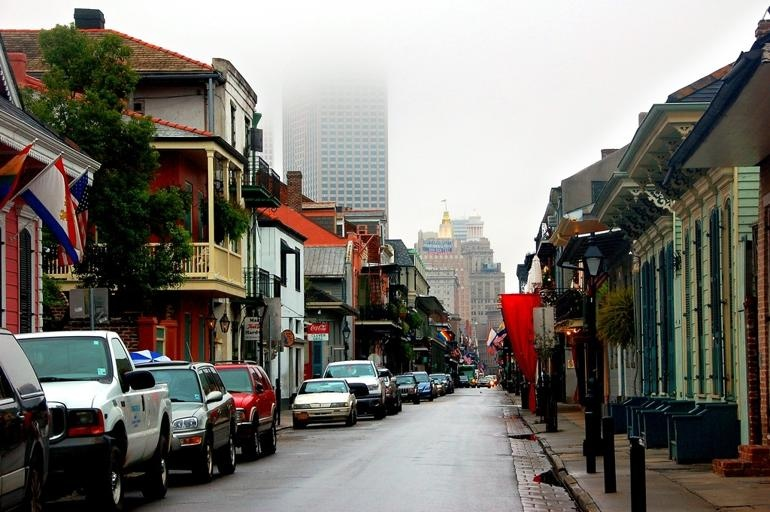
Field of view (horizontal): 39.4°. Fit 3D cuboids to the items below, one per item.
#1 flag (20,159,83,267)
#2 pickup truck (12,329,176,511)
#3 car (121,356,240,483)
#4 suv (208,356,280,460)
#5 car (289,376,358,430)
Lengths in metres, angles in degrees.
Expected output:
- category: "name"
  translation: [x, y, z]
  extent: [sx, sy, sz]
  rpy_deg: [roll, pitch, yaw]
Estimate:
- category: "flag"
  translation: [-7.782, -1.131, 25.416]
  extent: [0.889, 2.179, 1.765]
  rpy_deg: [-8, -14, 34]
- category: "pickup truck"
  translation: [-4.900, 2.796, 18.549]
  extent: [1.837, 1.641, 3.214]
  rpy_deg: [-3, -12, 8]
- category: "car"
  translation: [-4.040, 3.358, 22.318]
  extent: [1.440, 1.453, 2.816]
  rpy_deg: [-2, -9, 7]
- category: "suv"
  translation: [-3.570, 3.722, 26.654]
  extent: [1.193, 1.407, 2.408]
  rpy_deg: [-2, -10, 6]
- category: "car"
  translation: [-2.192, 5.195, 38.565]
  extent: [2.180, 1.794, 1.575]
  rpy_deg: [2, -12, -9]
